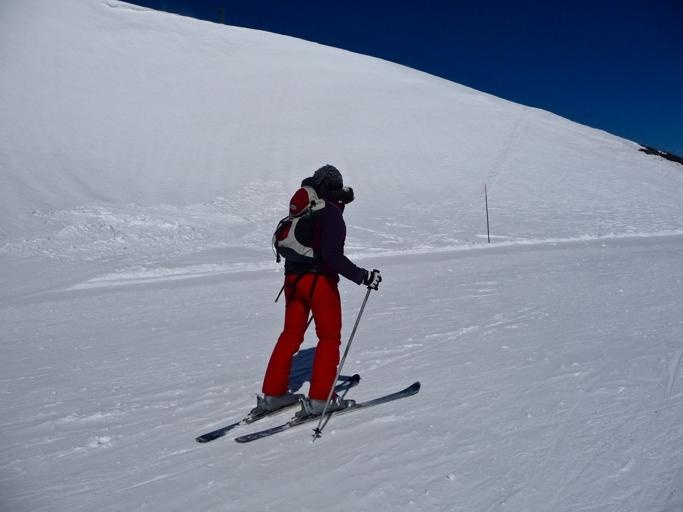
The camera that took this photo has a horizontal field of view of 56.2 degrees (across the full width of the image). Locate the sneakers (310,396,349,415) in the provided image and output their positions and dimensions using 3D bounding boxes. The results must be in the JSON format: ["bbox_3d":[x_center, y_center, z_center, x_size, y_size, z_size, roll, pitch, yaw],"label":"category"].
[{"bbox_3d":[-0.137,1.637,7.038,0.570,0.158,0.148,-3,4,-25],"label":"sneakers"}]

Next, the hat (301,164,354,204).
[{"bbox_3d":[-0.257,-0.796,7.095,0.647,0.376,0.411,14,2,-31],"label":"hat"}]
